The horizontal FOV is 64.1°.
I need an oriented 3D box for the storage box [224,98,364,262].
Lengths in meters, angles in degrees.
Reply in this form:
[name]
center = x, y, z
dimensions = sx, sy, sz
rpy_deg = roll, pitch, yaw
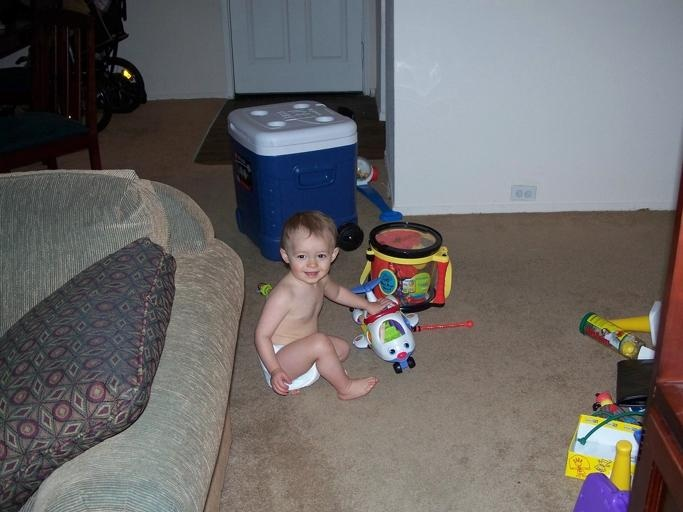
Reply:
[storage box]
center = -0.181, -0.319, 2.611
dimensions = 0.610, 0.723, 0.626
rpy_deg = -8, 30, -17

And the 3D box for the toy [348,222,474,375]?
[toy]
center = 0.265, 0.271, 2.069
dimensions = 0.393, 0.551, 0.587
rpy_deg = 4, 42, 7

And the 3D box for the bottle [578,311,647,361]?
[bottle]
center = 0.891, 0.246, 1.815
dimensions = 0.083, 0.080, 0.269
rpy_deg = -40, 47, -16
